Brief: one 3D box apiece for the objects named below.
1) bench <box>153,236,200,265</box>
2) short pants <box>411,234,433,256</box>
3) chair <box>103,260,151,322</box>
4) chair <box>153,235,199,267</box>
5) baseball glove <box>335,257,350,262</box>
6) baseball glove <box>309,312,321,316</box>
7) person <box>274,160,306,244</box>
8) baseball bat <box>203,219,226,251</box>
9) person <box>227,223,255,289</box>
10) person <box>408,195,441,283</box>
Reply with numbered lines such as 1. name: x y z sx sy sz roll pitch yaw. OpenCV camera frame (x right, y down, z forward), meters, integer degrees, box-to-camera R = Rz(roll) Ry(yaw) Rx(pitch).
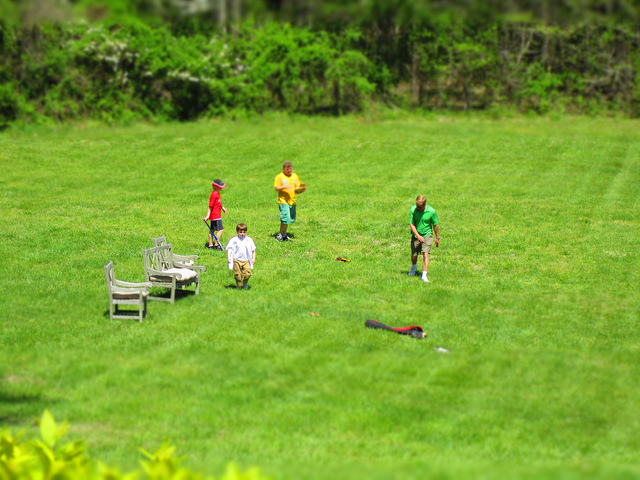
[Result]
1. bench: -3.844 0.342 31.153 0.888 1.343 0.790 2 7 13
2. short pants: 2.797 0.132 31.629 0.772 0.745 0.446 1 1 13
3. chair: -5.133 1.258 29.999 1.365 1.904 1.395 1 6 -4
4. chair: -3.852 0.312 31.318 0.972 1.491 0.824 2 7 10
5. baseball glove: 0.694 0.554 33.522 0.414 0.233 0.113 8 1 26
6. baseball glove: -0.124 1.913 30.051 0.260 0.052 0.160 -3 17 -5
7. person: -0.966 -1.262 35.074 0.880 2.426 1.515 -2 16 -1
8. baseball bat: -3.131 -0.131 34.428 0.159 1.087 0.129 -37 7 25
9. person: -2.080 0.416 30.724 0.719 1.906 0.676 -5 16 -10
10. person: 2.857 -0.060 31.588 0.750 2.435 0.758 -1 16 4
